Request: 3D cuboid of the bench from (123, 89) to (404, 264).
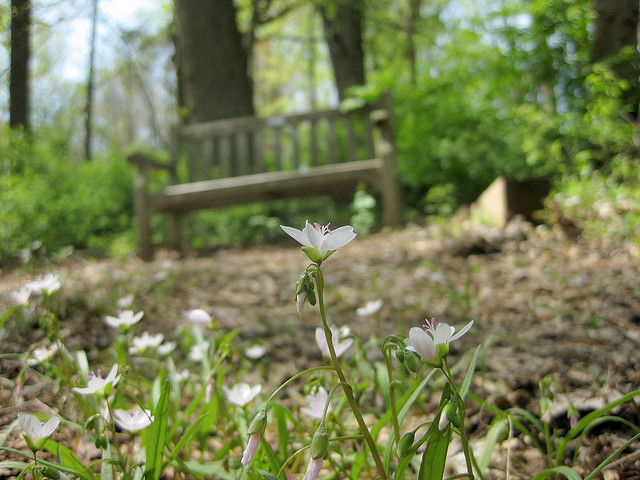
[{"bbox_3d":[-0.377,-0.466,5.266,2.149,1.065,0.811,-12,16,-28],"label":"bench"}]
